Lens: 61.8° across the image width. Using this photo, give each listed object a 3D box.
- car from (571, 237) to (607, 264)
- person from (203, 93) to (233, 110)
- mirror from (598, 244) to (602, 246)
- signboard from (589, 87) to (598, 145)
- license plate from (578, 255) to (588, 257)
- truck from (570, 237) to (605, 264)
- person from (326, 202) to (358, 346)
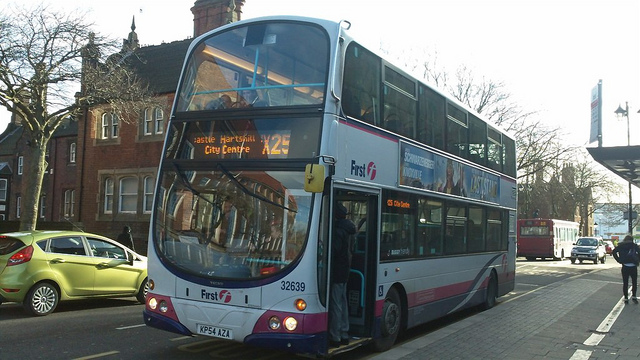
[{"bbox_3d":[23.431,6.185,46.570,2.232,1.822,4.486,-6,-13,36],"label":"car"},{"bbox_3d":[-2.539,-1.947,13.398,0.782,0.394,0.119,1,-1,15],"label":"person"},{"bbox_3d":[25.392,5.933,48.411,0.409,0.095,0.406,-1,3,14],"label":"mirror"},{"bbox_3d":[17.651,-4.156,34.408,0.375,2.680,1.766,1,-1,24],"label":"signboard"},{"bbox_3d":[22.072,6.430,44.951,0.636,0.146,0.085,3,-32,-3],"label":"license plate"},{"bbox_3d":[23.293,6.057,46.474,2.053,1.818,4.274,-6,-13,37],"label":"truck"},{"bbox_3d":[0.457,2.326,13.061,0.764,3.151,0.332,2,-1,-44],"label":"person"}]
